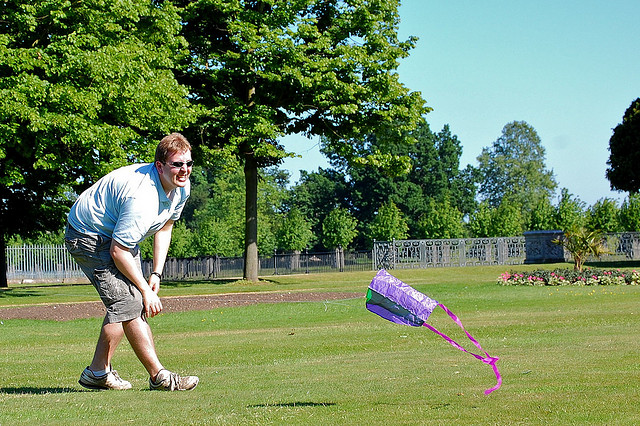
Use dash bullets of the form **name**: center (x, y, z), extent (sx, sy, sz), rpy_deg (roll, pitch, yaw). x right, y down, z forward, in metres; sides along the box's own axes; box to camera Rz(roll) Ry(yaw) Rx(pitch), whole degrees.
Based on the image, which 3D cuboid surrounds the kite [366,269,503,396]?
- **kite**: center (3.064, 2.887, 26.654), extent (3.997, 1.151, 1.143), rpy_deg (32, 21, 9)
